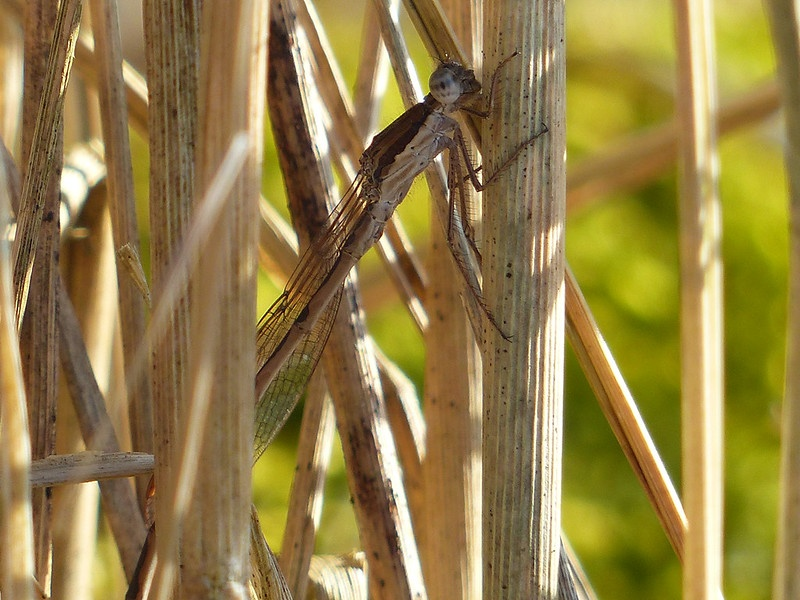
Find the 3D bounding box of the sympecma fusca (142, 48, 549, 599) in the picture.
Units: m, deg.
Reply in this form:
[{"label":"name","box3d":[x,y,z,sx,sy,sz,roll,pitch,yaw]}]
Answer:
[{"label":"sympecma fusca","box3d":[-0.082,-0.050,1.999,0.186,0.800,0.394,27,9,-1]}]
